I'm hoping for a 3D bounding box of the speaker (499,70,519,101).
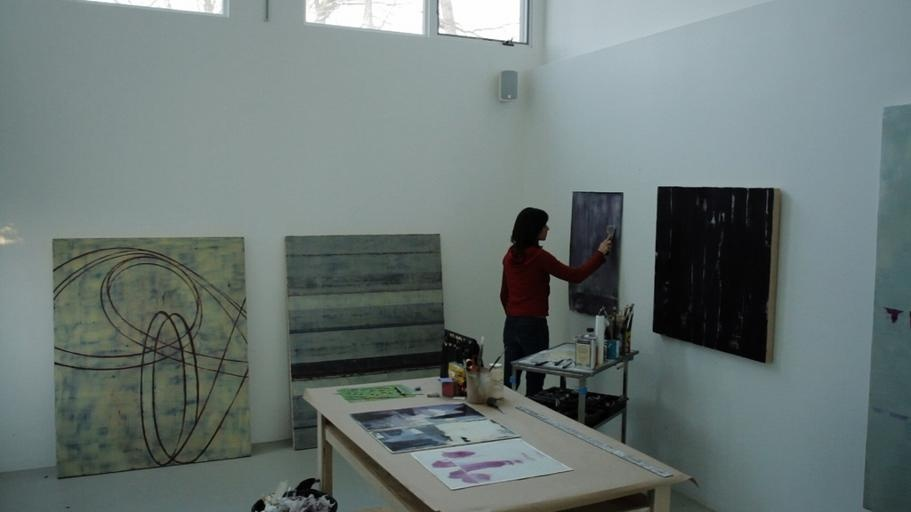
[{"bbox_3d":[0.619,-1.950,7.426,0.235,0.339,0.144,-4,6,-10],"label":"speaker"}]

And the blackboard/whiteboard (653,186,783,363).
[{"bbox_3d":[2.346,0.134,5.755,0.937,1.477,0.178,3,8,41],"label":"blackboard/whiteboard"}]

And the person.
[{"bbox_3d":[1.004,0.352,6.427,0.949,2.026,0.839,2,0,-19],"label":"person"}]
